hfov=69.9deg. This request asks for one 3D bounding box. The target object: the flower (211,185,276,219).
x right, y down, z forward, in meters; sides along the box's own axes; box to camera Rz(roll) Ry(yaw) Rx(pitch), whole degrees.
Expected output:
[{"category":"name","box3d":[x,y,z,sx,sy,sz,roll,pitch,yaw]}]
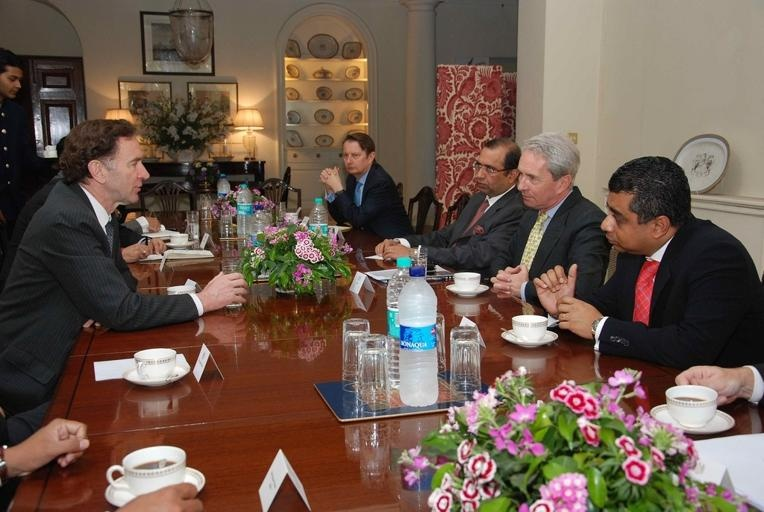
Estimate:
[{"category":"flower","box3d":[-1.165,-0.453,4.615,0.513,0.285,0.449,0,20,3]}]

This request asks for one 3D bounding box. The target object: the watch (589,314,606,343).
[{"category":"watch","box3d":[0.741,0.252,1.898,0.056,0.087,0.079,17,-10,25]}]

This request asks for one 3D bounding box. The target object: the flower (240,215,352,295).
[{"category":"flower","box3d":[-0.404,0.005,2.489,0.381,0.212,0.380,2,16,-15]}]

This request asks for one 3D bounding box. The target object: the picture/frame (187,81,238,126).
[{"category":"picture/frame","box3d":[-2.838,-2.515,8.984,0.873,0.828,0.088,1,17,-7]}]
